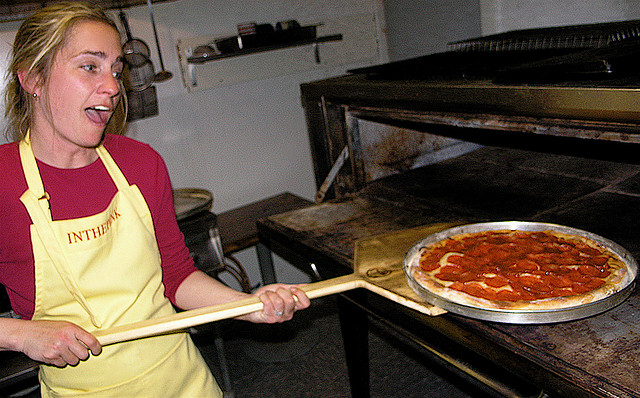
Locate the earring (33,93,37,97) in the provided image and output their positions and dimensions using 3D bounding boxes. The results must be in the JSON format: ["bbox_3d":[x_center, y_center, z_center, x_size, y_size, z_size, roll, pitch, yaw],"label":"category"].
[{"bbox_3d":[-1.058,-0.387,1.745,0.019,0.014,0.003,5,26,26],"label":"earring"}]

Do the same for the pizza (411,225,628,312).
[{"bbox_3d":[0.750,0.249,1.834,0.762,0.130,0.559,-8,19,-13],"label":"pizza"}]
